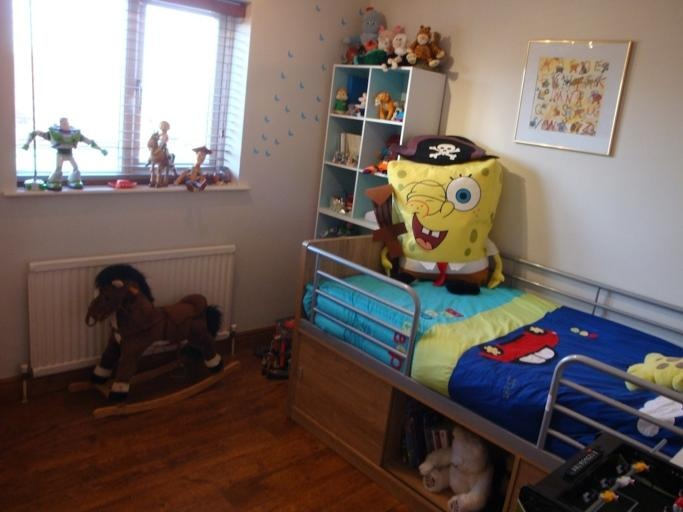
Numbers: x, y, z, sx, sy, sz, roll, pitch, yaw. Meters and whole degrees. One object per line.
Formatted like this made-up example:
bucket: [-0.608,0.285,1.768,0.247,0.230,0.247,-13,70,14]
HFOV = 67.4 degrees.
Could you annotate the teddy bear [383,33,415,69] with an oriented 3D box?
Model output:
teddy bear: [0.354,-1.288,3.224,0.189,0.211,0.157,24,46,35]

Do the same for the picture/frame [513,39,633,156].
picture/frame: [1.280,-0.869,2.773,0.575,0.607,0.021,17,17,38]

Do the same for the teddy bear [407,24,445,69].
teddy bear: [0.538,-1.311,3.199,0.204,0.255,0.286,16,22,35]

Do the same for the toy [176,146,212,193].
toy: [-0.906,-0.565,3.251,0.175,0.262,0.304,9,20,21]

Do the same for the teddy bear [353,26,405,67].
teddy bear: [0.281,-1.329,3.280,0.220,0.166,0.362,5,34,19]

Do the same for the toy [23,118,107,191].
toy: [-1.562,-0.575,2.853,0.382,0.331,0.125,-8,21,-39]

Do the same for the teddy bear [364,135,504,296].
teddy bear: [0.562,-0.208,2.935,0.769,0.893,0.472,2,18,12]

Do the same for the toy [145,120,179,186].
toy: [-1.102,-0.630,3.126,0.162,0.383,0.205,-3,18,-17]

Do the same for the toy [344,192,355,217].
toy: [0.057,-0.368,3.678,0.044,0.120,0.127,6,-10,4]
